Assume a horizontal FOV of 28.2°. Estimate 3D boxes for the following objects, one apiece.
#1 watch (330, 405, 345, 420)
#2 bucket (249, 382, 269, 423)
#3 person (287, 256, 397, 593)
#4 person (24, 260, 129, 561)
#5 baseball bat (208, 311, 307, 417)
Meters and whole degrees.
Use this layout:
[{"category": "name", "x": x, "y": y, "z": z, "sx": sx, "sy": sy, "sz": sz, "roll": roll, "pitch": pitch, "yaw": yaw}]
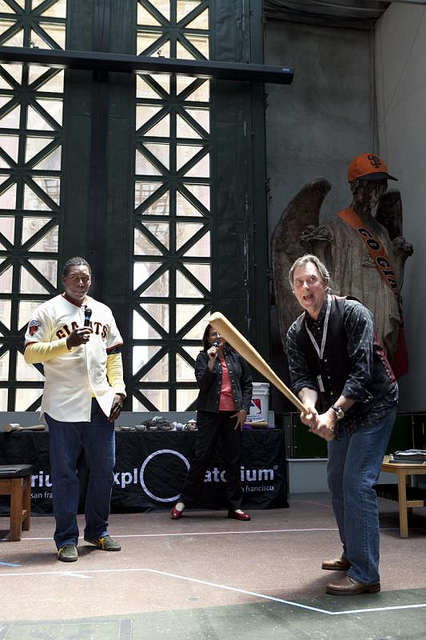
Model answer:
[{"category": "watch", "x": 0.600, "y": 0.439, "z": 4.058, "sx": 0.049, "sy": 0.068, "sz": 0.075, "roll": -32, "pitch": 15, "yaw": -19}, {"category": "bucket", "x": 0.393, "y": 0.776, "z": 7.746, "sx": 0.272, "sy": 0.370, "sz": 0.253, "roll": 1, "pitch": -11, "yaw": 0}, {"category": "person", "x": 0.644, "y": 0.500, "z": 4.202, "sx": 0.533, "sy": 1.643, "sz": 0.611, "roll": -1, "pitch": 1, "yaw": 5}, {"category": "person", "x": -0.779, "y": 0.528, "z": 4.980, "sx": 0.461, "sy": 1.292, "sz": 0.616, "roll": -1, "pitch": 1, "yaw": 25}, {"category": "baseball bat", "x": 0.306, "y": 0.332, "z": 6.376, "sx": 0.152, "sy": 1.383, "sz": 0.164, "roll": -31, "pitch": 22, "yaw": 24}]
